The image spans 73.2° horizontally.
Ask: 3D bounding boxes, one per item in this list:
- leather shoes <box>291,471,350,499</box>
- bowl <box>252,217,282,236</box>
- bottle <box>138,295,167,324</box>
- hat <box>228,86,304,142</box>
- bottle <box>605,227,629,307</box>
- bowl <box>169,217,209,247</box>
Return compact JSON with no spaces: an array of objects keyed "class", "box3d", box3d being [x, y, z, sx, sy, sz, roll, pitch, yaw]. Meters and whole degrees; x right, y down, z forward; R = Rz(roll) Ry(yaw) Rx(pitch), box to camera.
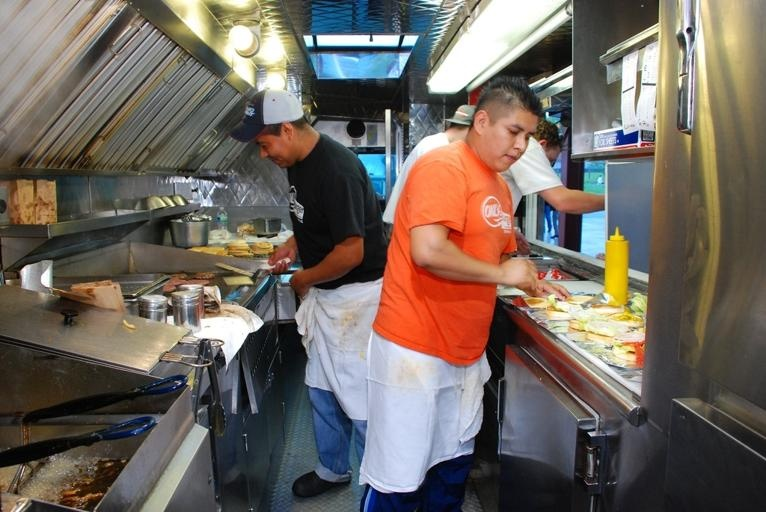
[{"class":"leather shoes","box3d":[-0.373,1.329,3.100,0.348,0.128,0.124,3,4,-26]},{"class":"bowl","box3d":[-1.259,-0.317,5.472,0.207,0.179,0.261,-1,4,14]},{"class":"bottle","box3d":[-0.996,0.203,2.184,0.131,0.126,0.127,1,9,-6]},{"class":"hat","box3d":[-0.632,-0.771,2.768,0.435,0.204,0.287,-15,24,-12]},{"class":"bottle","box3d":[1.188,0.036,2.603,0.105,0.367,0.107,-3,7,0]},{"class":"bowl","box3d":[-1.658,-0.204,4.378,0.237,0.165,0.267,0,-3,0]}]
